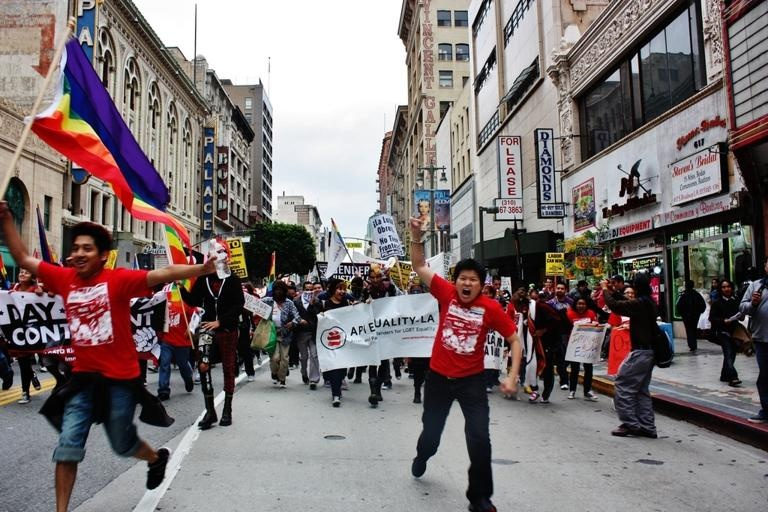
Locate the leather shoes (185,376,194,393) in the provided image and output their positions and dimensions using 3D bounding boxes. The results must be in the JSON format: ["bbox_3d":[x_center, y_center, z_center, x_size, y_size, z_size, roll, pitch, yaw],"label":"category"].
[{"bbox_3d":[-4.118,2.748,13.249,0.133,0.453,0.166,1,5,-12],"label":"leather shoes"}]

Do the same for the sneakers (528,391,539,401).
[{"bbox_3d":[3.107,2.897,12.896,0.177,0.206,0.375,-2,-5,16],"label":"sneakers"}]

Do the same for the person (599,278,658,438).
[{"bbox_3d":[4.138,1.624,10.340,0.843,2.687,0.545,-1,-4,10],"label":"person"}]

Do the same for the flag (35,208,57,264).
[{"bbox_3d":[-6.960,-0.387,12.833,0.212,1.205,0.242,27,37,31],"label":"flag"}]

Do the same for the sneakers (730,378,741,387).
[{"bbox_3d":[7.444,2.716,13.266,0.111,0.147,0.329,-4,-17,-4],"label":"sneakers"}]

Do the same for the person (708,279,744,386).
[{"bbox_3d":[7.462,1.674,13.660,0.560,2.216,1.288,-3,-5,28],"label":"person"}]

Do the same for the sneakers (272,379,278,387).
[{"bbox_3d":[-2.564,3.029,14.820,0.105,0.113,0.146,0,-8,-2],"label":"sneakers"}]

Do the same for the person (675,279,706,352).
[{"bbox_3d":[9.287,1.788,18.785,0.748,2.181,1.552,-3,-5,27],"label":"person"}]

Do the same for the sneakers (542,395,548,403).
[{"bbox_3d":[3.289,2.934,12.702,0.138,0.128,0.232,-2,-4,11],"label":"sneakers"}]

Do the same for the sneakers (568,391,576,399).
[{"bbox_3d":[4.049,3.014,13.423,0.093,0.114,0.271,-3,-18,7],"label":"sneakers"}]

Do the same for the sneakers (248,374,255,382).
[{"bbox_3d":[-3.270,3.058,15.505,0.098,0.131,0.316,-2,-21,-9],"label":"sneakers"}]

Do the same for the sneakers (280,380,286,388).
[{"bbox_3d":[-2.284,2.921,14.177,0.127,0.188,0.416,2,-5,-3],"label":"sneakers"}]

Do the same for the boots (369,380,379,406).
[{"bbox_3d":[-0.186,2.784,12.375,0.192,0.401,0.403,0,-29,0],"label":"boots"}]

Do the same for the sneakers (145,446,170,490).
[{"bbox_3d":[-2.632,2.461,7.175,0.284,0.244,0.693,-25,13,-16],"label":"sneakers"}]

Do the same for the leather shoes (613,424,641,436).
[{"bbox_3d":[3.932,2.841,10.119,0.395,0.196,0.182,2,-12,-1],"label":"leather shoes"}]

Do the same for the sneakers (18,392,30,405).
[{"bbox_3d":[-6.805,2.720,11.820,0.107,0.147,0.341,1,-17,-8],"label":"sneakers"}]

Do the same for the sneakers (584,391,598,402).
[{"bbox_3d":[4.403,3.008,13.288,0.145,0.215,0.471,3,-11,-10],"label":"sneakers"}]
